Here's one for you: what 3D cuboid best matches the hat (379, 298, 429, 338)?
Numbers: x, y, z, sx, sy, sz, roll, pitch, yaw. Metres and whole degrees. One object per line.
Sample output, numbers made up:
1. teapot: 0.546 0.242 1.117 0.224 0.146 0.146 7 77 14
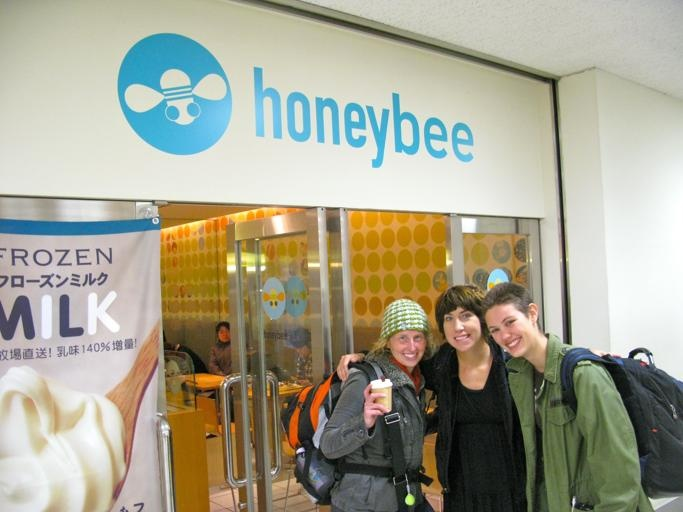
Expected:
1. hat: 0.340 0.335 3.047 0.204 0.184 0.216 4 -14 -8
